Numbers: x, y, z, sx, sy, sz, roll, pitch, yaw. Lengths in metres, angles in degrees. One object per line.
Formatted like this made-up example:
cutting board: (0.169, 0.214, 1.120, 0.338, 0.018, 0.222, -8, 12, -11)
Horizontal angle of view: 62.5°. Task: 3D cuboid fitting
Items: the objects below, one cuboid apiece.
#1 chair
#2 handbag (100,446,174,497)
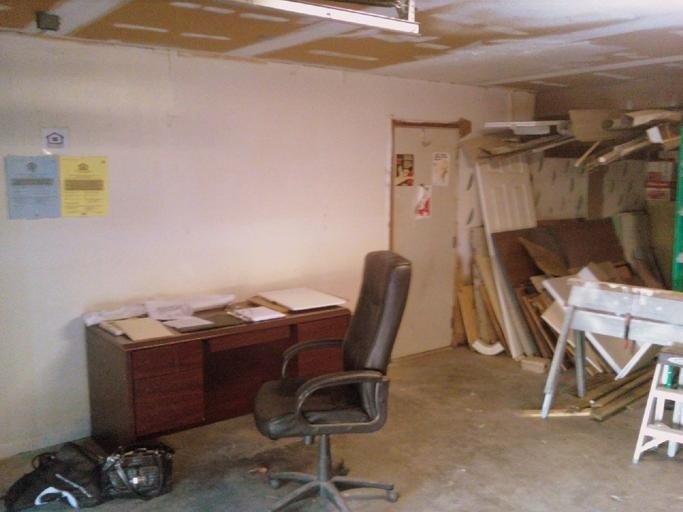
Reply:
chair: (-0.055, 0.780, 3.503, 1.002, 1.557, 0.679, -5, 16, -9)
handbag: (-1.335, 1.399, 3.686, 0.408, 0.238, 0.245, 0, 9, -10)
